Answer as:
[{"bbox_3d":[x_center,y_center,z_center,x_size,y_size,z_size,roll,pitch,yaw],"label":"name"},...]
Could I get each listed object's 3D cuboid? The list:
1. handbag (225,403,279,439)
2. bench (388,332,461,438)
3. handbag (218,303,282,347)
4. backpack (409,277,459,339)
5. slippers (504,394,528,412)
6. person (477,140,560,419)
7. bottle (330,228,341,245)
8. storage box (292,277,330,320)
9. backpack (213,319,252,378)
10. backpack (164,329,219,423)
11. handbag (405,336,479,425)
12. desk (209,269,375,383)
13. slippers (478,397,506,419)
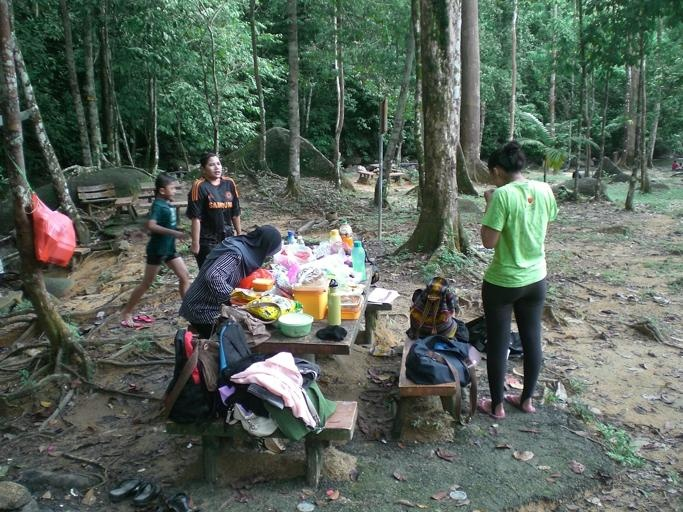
[{"bbox_3d":[-0.778,1.403,4.707,0.424,0.175,0.272,20,53,15],"label":"handbag"},{"bbox_3d":[0.822,0.990,5.384,0.744,0.528,1.609,0,9,3],"label":"bench"},{"bbox_3d":[-0.877,0.577,5.049,0.439,0.159,0.335,32,2,-26],"label":"handbag"},{"bbox_3d":[1.026,0.560,5.880,0.569,0.661,0.443,10,20,25],"label":"backpack"},{"bbox_3d":[1.887,1.520,5.706,0.092,0.175,0.257,-38,47,-18],"label":"slippers"},{"bbox_3d":[1.731,0.260,5.408,0.729,2.763,0.426,1,15,4],"label":"person"},{"bbox_3d":[-0.083,-0.267,6.647,0.168,0.226,0.151,0,5,-2],"label":"bottle"},{"bbox_3d":[-0.318,0.421,5.310,0.299,0.249,0.393,0,4,7],"label":"storage box"},{"bbox_3d":[-1.008,0.792,4.872,0.157,0.436,0.346,3,-10,-32],"label":"backpack"},{"bbox_3d":[-1.343,1.058,4.838,0.494,0.754,0.352,1,15,5],"label":"backpack"},{"bbox_3d":[0.977,1.229,5.387,0.768,0.808,0.552,2,15,7],"label":"handbag"},{"bbox_3d":[-0.210,0.902,5.602,0.964,0.905,1.454,5,16,19],"label":"desk"},{"bbox_3d":[1.581,1.563,5.619,0.142,0.115,0.292,-7,17,-18],"label":"slippers"}]
